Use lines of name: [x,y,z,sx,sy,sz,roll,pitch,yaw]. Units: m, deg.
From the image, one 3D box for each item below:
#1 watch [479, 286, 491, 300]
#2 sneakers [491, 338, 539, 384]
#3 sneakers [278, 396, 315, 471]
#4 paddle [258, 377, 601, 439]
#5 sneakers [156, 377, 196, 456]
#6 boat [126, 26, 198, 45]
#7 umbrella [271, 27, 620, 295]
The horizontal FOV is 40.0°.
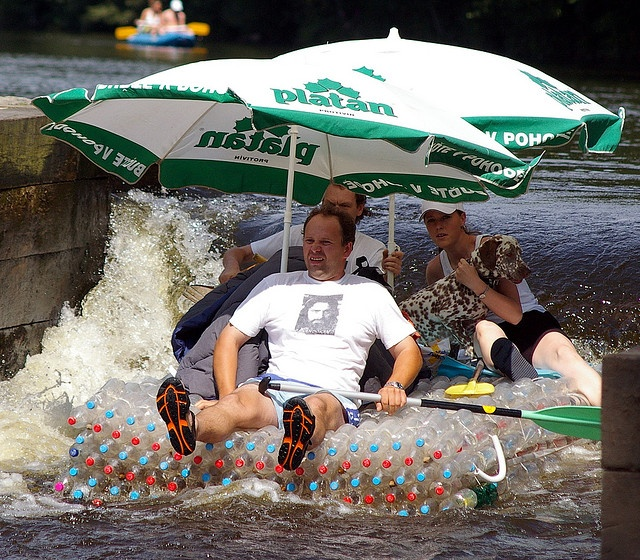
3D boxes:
watch: [1.177,0.085,6.318,0.030,0.073,0.080,42,70,7]
sneakers: [1.325,0.558,6.093,0.225,0.364,0.097,-47,16,-19]
sneakers: [-0.121,0.820,4.800,0.202,0.366,0.171,22,14,26]
paddle: [0.617,0.776,5.282,2.650,0.256,0.266,4,-15,7]
sneakers: [-0.739,0.721,4.718,0.197,0.389,0.184,-13,1,23]
boat: [-8.036,-12.492,45.518,2.882,0.495,1.367,-3,14,-19]
umbrella: [0.925,-1.118,6.487,1.556,0.454,1.476,19,6,-36]
